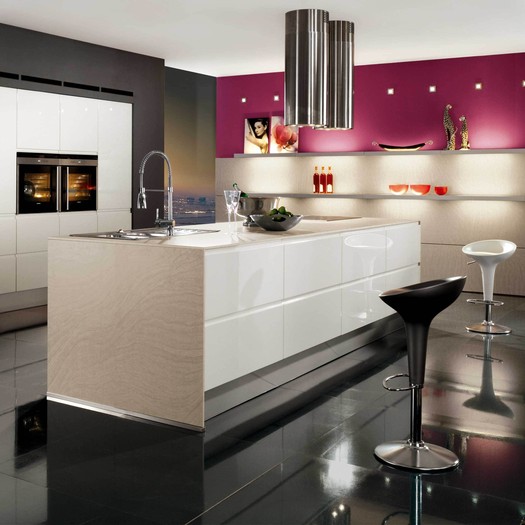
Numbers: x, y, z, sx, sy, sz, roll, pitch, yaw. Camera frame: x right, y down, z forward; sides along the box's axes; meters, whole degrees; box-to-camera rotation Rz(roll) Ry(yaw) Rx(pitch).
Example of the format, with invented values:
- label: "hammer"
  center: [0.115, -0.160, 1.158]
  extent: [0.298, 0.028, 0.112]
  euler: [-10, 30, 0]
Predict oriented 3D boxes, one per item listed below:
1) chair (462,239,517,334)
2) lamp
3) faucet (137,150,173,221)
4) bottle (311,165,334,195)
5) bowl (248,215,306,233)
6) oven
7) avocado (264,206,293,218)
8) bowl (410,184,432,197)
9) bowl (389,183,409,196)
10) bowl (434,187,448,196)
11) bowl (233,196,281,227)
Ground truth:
- label: "chair"
  center: [2.406, 0.198, 4.777]
  extent: [0.444, 0.961, 1.577]
  euler: [1, 1, 27]
- label: "lamp"
  center: [0.538, -1.913, 4.328]
  extent: [0.523, 1.058, 1.031]
  euler: [3, 7, 21]
- label: "faucet"
  center: [-0.680, -0.450, 2.903]
  extent: [0.243, 0.588, 0.089]
  euler: [-2, 37, -16]
- label: "bottle"
  center: [0.940, -1.321, 7.048]
  extent: [0.335, 0.429, 0.163]
  euler: [1, 1, 18]
- label: "bowl"
  center: [0.102, -0.281, 3.206]
  extent: [0.329, 0.109, 0.232]
  euler: [1, 1, 5]
- label: "oven"
  center: [-2.324, -0.871, 5.227]
  extent: [0.888, 0.600, 0.364]
  euler: [-2, -2, -14]
- label: "avocado"
  center: [0.119, -0.375, 3.259]
  extent: [0.129, 0.071, 0.143]
  euler: [1, -3, 0]
- label: "bowl"
  center: [2.226, -1.038, 6.311]
  extent: [0.301, 0.212, 0.333]
  euler: [1, 1, 18]
- label: "bowl"
  center: [1.971, -1.078, 6.488]
  extent: [0.282, 0.193, 0.252]
  euler: [1, 1, 18]
- label: "bowl"
  center: [2.468, -0.998, 6.156]
  extent: [0.131, 0.116, 0.154]
  euler: [-1, -1, 7]
- label: "bowl"
  center: [-0.061, -0.435, 3.534]
  extent: [0.244, 0.210, 0.282]
  euler: [1, -1, 0]
